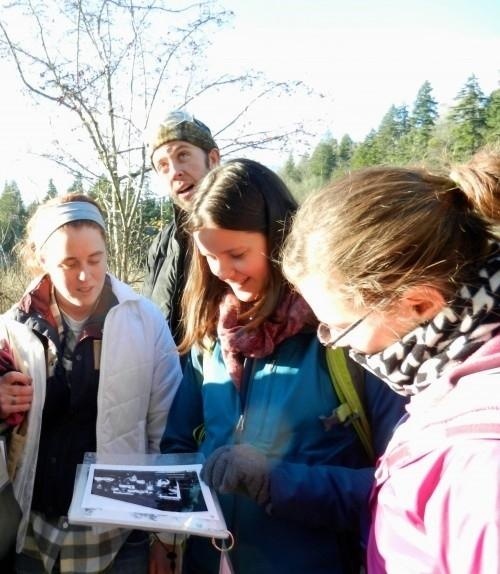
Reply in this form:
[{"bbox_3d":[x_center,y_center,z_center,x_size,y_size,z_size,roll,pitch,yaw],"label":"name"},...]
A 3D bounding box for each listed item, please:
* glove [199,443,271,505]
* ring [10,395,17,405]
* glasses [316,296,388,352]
[{"bbox_3d":[-0.042,0.614,1.601,0.127,0.146,0.219,-30,-42,31],"label":"glove"},{"bbox_3d":[-1.028,0.494,2.127,0.015,0.032,0.008,-3,-1,-30],"label":"ring"},{"bbox_3d":[0.247,0.084,1.263,0.157,0.051,0.152,44,7,27],"label":"glasses"}]
